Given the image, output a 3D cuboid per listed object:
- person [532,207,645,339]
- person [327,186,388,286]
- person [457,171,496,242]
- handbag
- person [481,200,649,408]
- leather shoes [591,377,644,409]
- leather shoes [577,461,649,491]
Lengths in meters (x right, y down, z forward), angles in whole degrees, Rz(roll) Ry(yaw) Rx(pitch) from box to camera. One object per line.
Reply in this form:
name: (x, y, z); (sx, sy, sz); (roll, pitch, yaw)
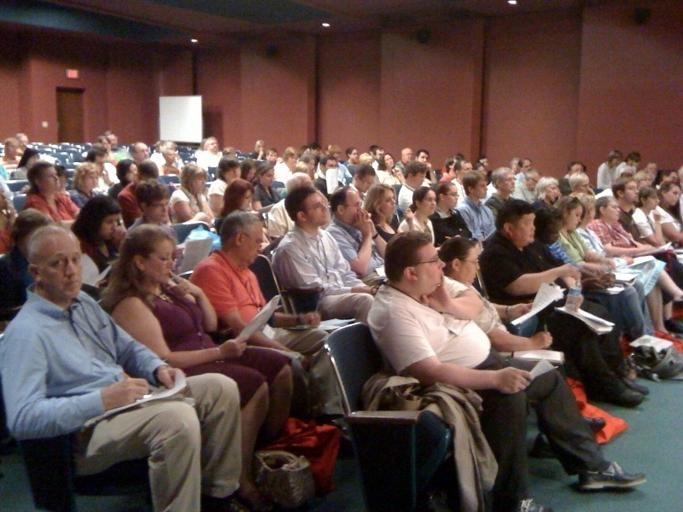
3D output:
person: (1.944, 0.094, 3.814); (0.374, 1.037, 0.627); (-27, 20, -11)
person: (0.104, -0.155, 3.877); (0.368, 0.740, 0.502); (0, 10, 35)
person: (1.521, -0.524, 5.776); (0.401, 0.856, 0.555); (4, 17, 36)
handbag: (-0.238, 0.923, 2.112); (0.253, 0.106, 0.174); (7, 10, 40)
person: (1.453, 0.288, 3.341); (0.958, 1.312, 0.566); (2, 14, 41)
leather shoes: (1.716, 0.852, 3.304); (0.384, 0.171, 0.149); (2, 18, 23)
leather shoes: (1.225, 1.013, 2.394); (0.338, 0.166, 0.132); (-2, -7, 3)
